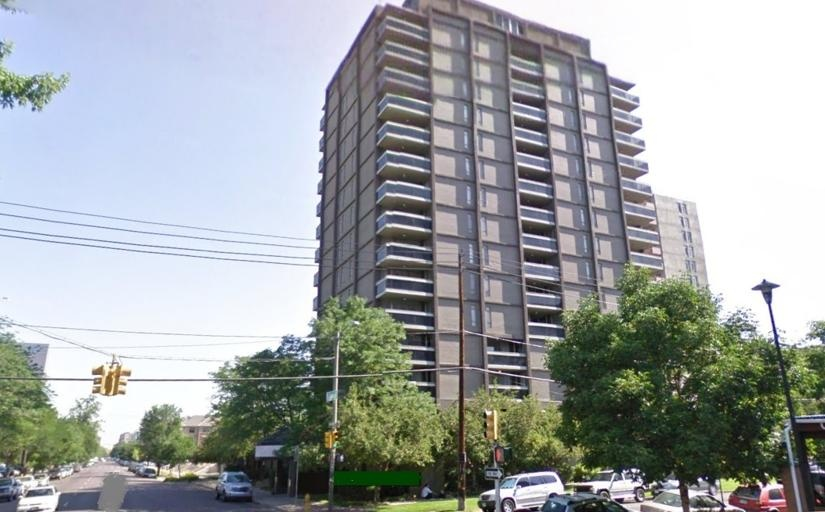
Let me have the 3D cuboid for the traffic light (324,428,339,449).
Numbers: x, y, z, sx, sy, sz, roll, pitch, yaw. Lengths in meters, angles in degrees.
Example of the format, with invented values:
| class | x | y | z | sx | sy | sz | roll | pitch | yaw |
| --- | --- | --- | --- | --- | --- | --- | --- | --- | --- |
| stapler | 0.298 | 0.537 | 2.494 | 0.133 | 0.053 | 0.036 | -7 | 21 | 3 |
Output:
| class | x | y | z | sx | sy | sz | roll | pitch | yaw |
| --- | --- | --- | --- | --- | --- | --- | --- | --- | --- |
| traffic light | -6.487 | 14.436 | 51.421 | 0.863 | 1.546 | 1.071 | -3 | -23 | 6 |

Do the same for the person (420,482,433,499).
| class | x | y | z | sx | sy | sz | roll | pitch | yaw |
| --- | --- | --- | --- | --- | --- | --- | --- | --- | --- |
| person | 1.323 | 22.341 | 61.333 | 0.996 | 1.131 | 1.191 | -2 | -23 | 5 |

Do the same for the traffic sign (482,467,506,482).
| class | x | y | z | sx | sy | sz | roll | pitch | yaw |
| --- | --- | --- | --- | --- | --- | --- | --- | --- | --- |
| traffic sign | 5.454 | 14.564 | 43.330 | 0.962 | 0.800 | 1.519 | -6 | -23 | 13 |

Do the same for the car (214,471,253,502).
| class | x | y | z | sx | sy | sz | roll | pitch | yaw |
| --- | --- | --- | --- | --- | --- | --- | --- | --- | --- |
| car | -16.800 | 21.572 | 60.679 | 2.341 | 2.687 | 3.779 | 16 | -27 | -33 |
